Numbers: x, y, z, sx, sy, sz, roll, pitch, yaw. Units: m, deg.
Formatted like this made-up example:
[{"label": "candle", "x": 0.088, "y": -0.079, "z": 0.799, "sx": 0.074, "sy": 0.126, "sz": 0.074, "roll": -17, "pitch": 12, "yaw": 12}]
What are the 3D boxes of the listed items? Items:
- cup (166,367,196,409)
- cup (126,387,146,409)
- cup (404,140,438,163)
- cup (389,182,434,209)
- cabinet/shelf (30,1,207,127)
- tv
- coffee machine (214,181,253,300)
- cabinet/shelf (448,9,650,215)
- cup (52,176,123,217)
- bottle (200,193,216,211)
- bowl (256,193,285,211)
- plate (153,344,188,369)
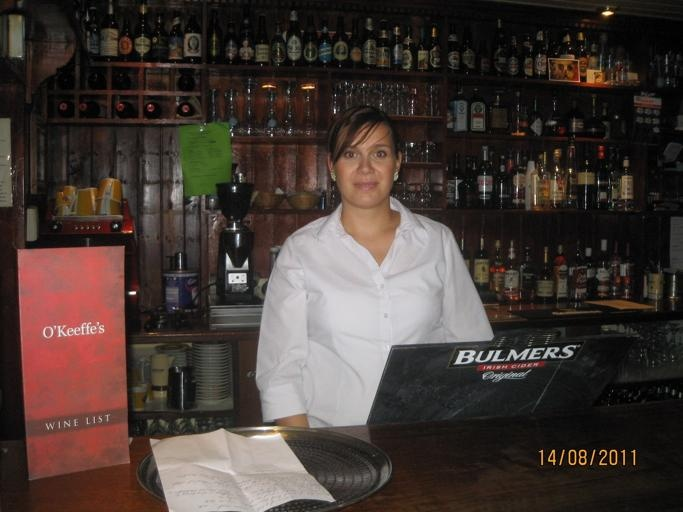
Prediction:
[{"label": "cup", "x": -0.733, "y": 0.618, "z": 3.193, "sx": 0.153, "sy": 0.225, "sz": 0.170, "roll": -1, "pitch": -6, "yaw": -3}, {"label": "cup", "x": -0.927, "y": 0.651, "z": 3.202, "sx": 0.104, "sy": 0.114, "sz": 0.103, "roll": -1, "pitch": 0, "yaw": 0}, {"label": "cup", "x": 0.449, "y": -0.592, "z": 3.975, "sx": 0.153, "sy": 0.108, "sz": 0.148, "roll": 1, "pitch": 0, "yaw": 0}, {"label": "cup", "x": 0.412, "y": -0.341, "z": 3.924, "sx": 0.179, "sy": 0.127, "sz": 0.173, "roll": 0, "pitch": -3, "yaw": 0}, {"label": "cabinet/shelf", "x": -1.137, "y": -1.015, "z": 3.645, "sx": 0.786, "sy": 0.635, "sz": 0.499, "roll": -4, "pitch": 15, "yaw": -23}, {"label": "tv", "x": 0.382, "y": 0.313, "z": 1.713, "sx": 0.449, "sy": 0.260, "sz": 0.023, "roll": 0, "pitch": 46, "yaw": -15}, {"label": "coffee machine", "x": -0.522, "y": -0.071, "z": 3.384, "sx": 0.174, "sy": 0.558, "sz": 0.259, "roll": 0, "pitch": 14, "yaw": -8}, {"label": "cabinet/shelf", "x": 1.207, "y": -0.859, "z": 4.156, "sx": 1.176, "sy": 1.015, "sz": 0.339, "roll": 4, "pitch": -3, "yaw": -10}, {"label": "cup", "x": -1.193, "y": -0.273, "z": 3.268, "sx": 0.298, "sy": 0.159, "sz": 0.166, "roll": -3, "pitch": 14, "yaw": -19}, {"label": "bottle", "x": -0.713, "y": -0.290, "z": 3.743, "sx": 0.089, "sy": 0.091, "sz": 0.052, "roll": -1, "pitch": 14, "yaw": -11}, {"label": "bowl", "x": -0.396, "y": -0.288, "z": 3.776, "sx": 0.105, "sy": 0.048, "sz": 0.105, "roll": 0, "pitch": -7, "yaw": 0}, {"label": "plate", "x": -0.838, "y": 0.488, "z": 3.382, "sx": 0.138, "sy": 0.137, "sz": 0.101, "roll": 1, "pitch": 1, "yaw": -7}]
